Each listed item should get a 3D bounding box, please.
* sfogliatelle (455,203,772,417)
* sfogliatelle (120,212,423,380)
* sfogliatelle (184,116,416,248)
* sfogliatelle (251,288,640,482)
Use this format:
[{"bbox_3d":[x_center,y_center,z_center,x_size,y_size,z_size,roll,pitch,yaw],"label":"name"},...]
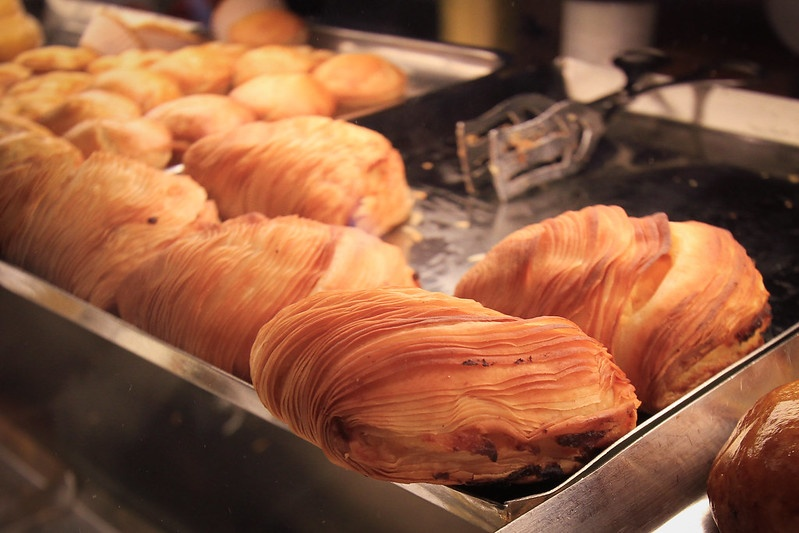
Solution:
[{"bbox_3d":[0.216,0.036,0.772,0.260,0.129,0.200,13,36,28],"label":"sfogliatelle"},{"bbox_3d":[-0.141,0.051,0.820,0.334,0.118,0.248,16,1,20],"label":"sfogliatelle"},{"bbox_3d":[-0.088,-0.120,0.912,0.185,0.093,0.196,-32,38,-30],"label":"sfogliatelle"},{"bbox_3d":[0.034,0.104,0.648,0.341,0.109,0.131,3,42,10],"label":"sfogliatelle"}]
